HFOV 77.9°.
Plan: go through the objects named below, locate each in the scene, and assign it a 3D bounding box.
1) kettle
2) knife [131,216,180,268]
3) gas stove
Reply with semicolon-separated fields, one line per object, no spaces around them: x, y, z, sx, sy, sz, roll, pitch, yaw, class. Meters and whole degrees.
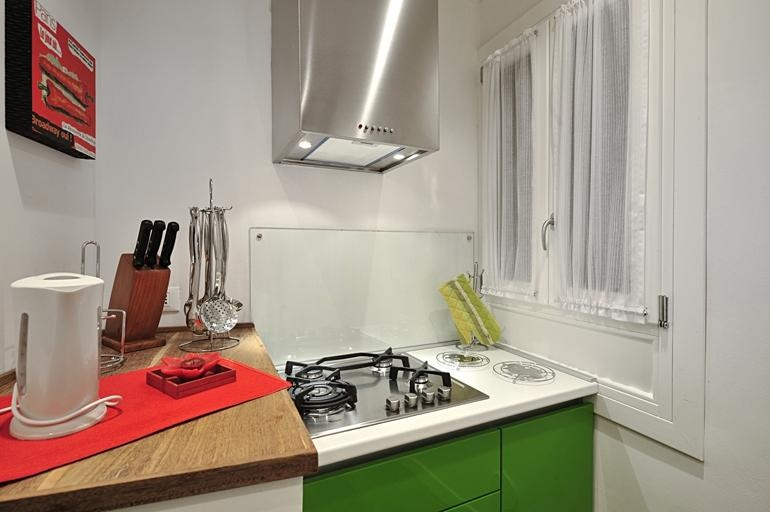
-0.909;0.252;1.324;0.224;0.432;0.089;-4;2;-32;kettle
-0.889;-0.049;1.853;0.161;0.213;0.139;4;5;-14;knife
-0.051;0.513;2.038;0.738;0.137;0.662;-3;2;-21;gas stove
